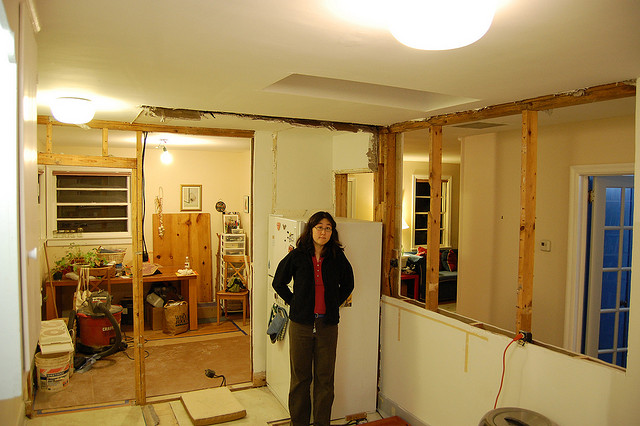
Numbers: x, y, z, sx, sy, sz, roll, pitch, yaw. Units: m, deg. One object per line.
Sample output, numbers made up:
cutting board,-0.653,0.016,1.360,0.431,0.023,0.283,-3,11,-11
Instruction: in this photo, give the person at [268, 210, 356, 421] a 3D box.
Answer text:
person,-0.059,1.024,4.309,0.791,2.061,0.279,0,3,-4

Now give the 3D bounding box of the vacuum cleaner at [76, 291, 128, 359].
vacuum cleaner,-3.113,1.542,6.219,0.767,0.863,0.783,2,1,-26

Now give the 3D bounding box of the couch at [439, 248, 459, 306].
couch,2.553,1.280,8.687,0.325,0.972,1.131,1,3,16

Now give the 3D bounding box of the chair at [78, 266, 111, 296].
chair,-3.460,1.031,6.701,0.493,0.587,0.429,2,11,-26

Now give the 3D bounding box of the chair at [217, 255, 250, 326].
chair,-1.512,1.300,7.527,0.503,1.124,0.727,-1,3,-12

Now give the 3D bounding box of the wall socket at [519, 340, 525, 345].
wall socket,1.667,1.070,3.611,0.040,0.038,0.006,3,4,43
